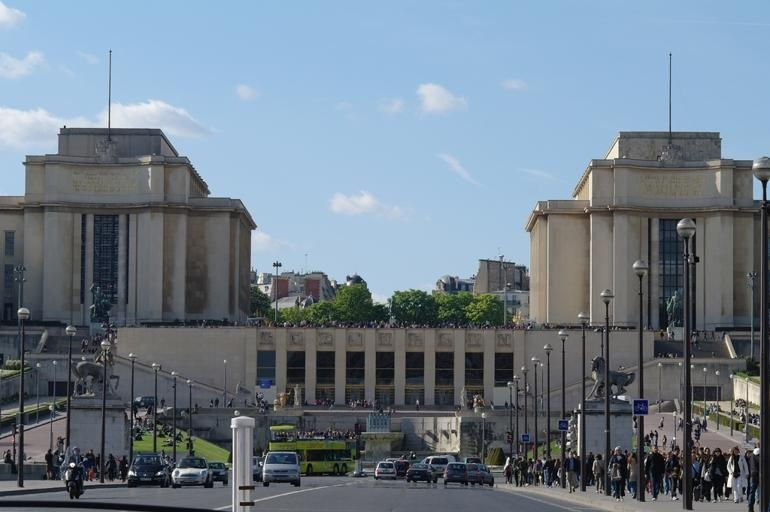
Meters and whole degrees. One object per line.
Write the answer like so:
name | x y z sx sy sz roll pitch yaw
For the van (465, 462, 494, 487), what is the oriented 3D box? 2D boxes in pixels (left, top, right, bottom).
van | 9.288 21.232 218.230 1.773 2.114 3.398 -5 -10 30

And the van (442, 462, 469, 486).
van | 6.932 21.131 217.816 2.346 2.173 1.643 0 -8 1

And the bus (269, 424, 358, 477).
bus | -7.158 21.235 239.513 10.345 4.979 3.871 2 -7 -7

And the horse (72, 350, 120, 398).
horse | -29.420 13.123 227.798 5.158 5.759 4.460 5 -3 -22

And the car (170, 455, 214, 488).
car | -18.016 20.041 207.607 3.656 2.861 2.467 1 -9 -7

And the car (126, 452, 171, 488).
car | -22.164 19.999 209.405 3.564 3.046 2.992 1 -8 -3
